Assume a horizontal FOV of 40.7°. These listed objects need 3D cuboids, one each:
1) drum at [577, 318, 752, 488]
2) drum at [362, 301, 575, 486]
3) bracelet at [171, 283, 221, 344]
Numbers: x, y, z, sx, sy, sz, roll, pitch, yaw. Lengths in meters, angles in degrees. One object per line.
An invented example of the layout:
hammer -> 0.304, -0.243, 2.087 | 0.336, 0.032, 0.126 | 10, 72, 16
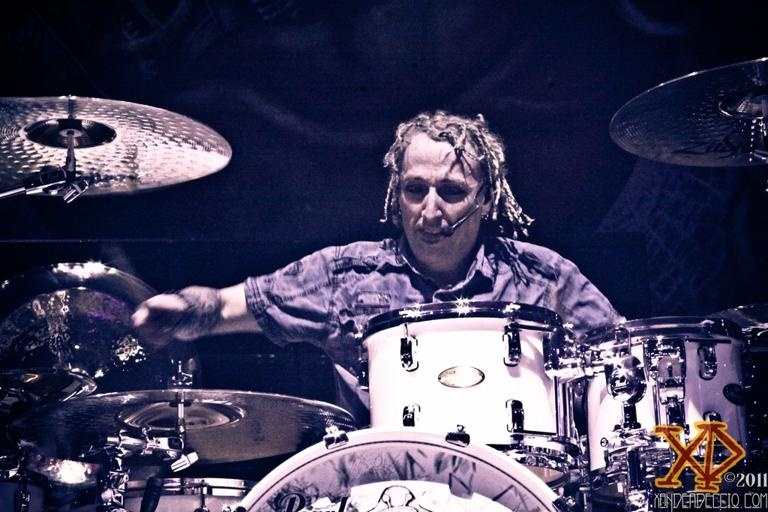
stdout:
drum -> 1.211, 0.660, 4.472 | 0.785, 0.631, 0.739 | -6, -23, 17
drum -> 0.331, 0.600, 4.385 | 0.862, 0.512, 0.788 | 1, -17, 0
bracelet -> -0.892, 0.263, 4.889 | 0.272, 0.197, 0.193 | 18, -34, 3
